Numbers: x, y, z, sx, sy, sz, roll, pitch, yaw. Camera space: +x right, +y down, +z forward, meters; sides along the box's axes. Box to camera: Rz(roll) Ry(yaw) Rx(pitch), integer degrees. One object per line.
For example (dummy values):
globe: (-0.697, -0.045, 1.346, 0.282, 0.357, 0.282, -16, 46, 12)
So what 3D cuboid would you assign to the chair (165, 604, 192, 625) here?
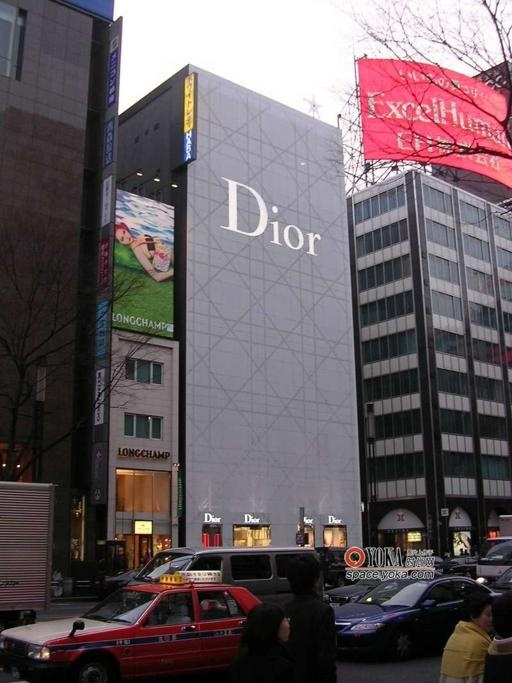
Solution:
chair: (-1.136, 3.949, 9.654, 0.281, 0.270, 0.262, -10, -23, 19)
